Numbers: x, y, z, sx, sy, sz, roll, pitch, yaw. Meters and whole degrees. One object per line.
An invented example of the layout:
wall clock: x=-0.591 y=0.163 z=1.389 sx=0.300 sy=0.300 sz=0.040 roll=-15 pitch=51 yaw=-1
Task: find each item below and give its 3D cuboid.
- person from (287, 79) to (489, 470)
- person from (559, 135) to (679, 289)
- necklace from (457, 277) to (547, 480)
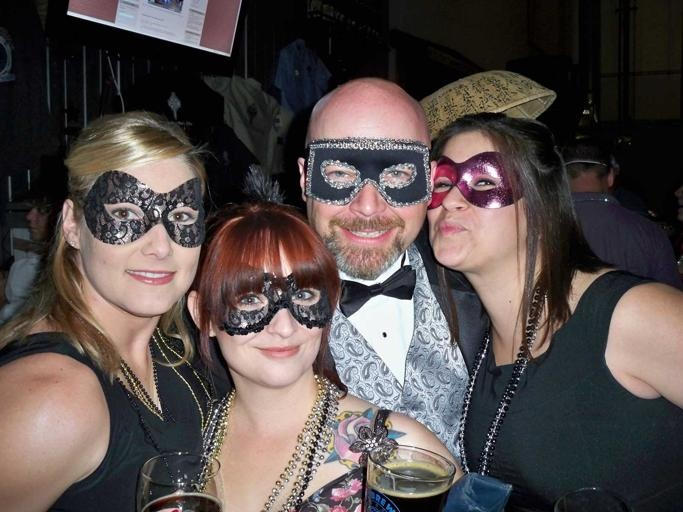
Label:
person: x=0.214 y=0.334 z=3.677 sx=0.985 sy=2.602 sz=0.926 roll=0 pitch=15 yaw=24
person: x=2.199 y=-0.345 z=5.240 sx=0.827 sy=1.617 sz=1.037 roll=9 pitch=16 yaw=20
necklace: x=0.802 y=0.648 z=3.170 sx=0.334 sy=1.131 sz=0.076 roll=15 pitch=-3 yaw=44
